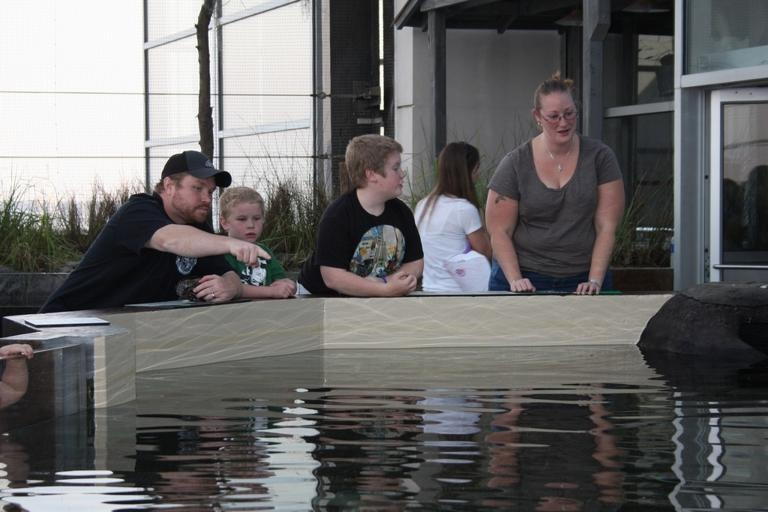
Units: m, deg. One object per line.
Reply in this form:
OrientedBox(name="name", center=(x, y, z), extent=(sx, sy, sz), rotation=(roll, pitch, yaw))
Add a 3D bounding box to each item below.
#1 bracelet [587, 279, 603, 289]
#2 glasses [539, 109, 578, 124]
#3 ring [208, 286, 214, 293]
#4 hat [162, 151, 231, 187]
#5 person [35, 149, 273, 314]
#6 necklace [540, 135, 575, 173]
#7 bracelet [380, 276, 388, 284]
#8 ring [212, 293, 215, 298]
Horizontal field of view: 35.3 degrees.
OrientedBox(name="bracelet", center=(1.601, 0.221, 9.114), extent=(0.091, 0.073, 0.077), rotation=(-4, 6, -38))
OrientedBox(name="glasses", center=(1.342, -1.071, 9.175), extent=(0.269, 0.095, 0.115), rotation=(-2, 4, 0))
OrientedBox(name="ring", center=(-1.208, 0.250, 8.551), extent=(0.036, 0.038, 0.008), rotation=(-2, 4, 3))
OrientedBox(name="hat", center=(-1.355, -0.639, 8.812), extent=(0.455, 0.197, 0.261), rotation=(-4, 2, -1))
OrientedBox(name="person", center=(-1.625, -0.186, 8.661), extent=(1.430, 1.127, 0.573), rotation=(-3, 4, -13))
OrientedBox(name="necklace", center=(1.318, -0.785, 9.236), extent=(0.228, 0.265, 0.051), rotation=(-12, 14, 11))
OrientedBox(name="bracelet", center=(0.013, 0.189, 9.016), extent=(0.047, 0.032, 0.049), rotation=(0, 2, 42))
OrientedBox(name="ring", center=(-1.198, 0.285, 8.549), extent=(0.027, 0.022, 0.004), rotation=(-3, 4, -11))
